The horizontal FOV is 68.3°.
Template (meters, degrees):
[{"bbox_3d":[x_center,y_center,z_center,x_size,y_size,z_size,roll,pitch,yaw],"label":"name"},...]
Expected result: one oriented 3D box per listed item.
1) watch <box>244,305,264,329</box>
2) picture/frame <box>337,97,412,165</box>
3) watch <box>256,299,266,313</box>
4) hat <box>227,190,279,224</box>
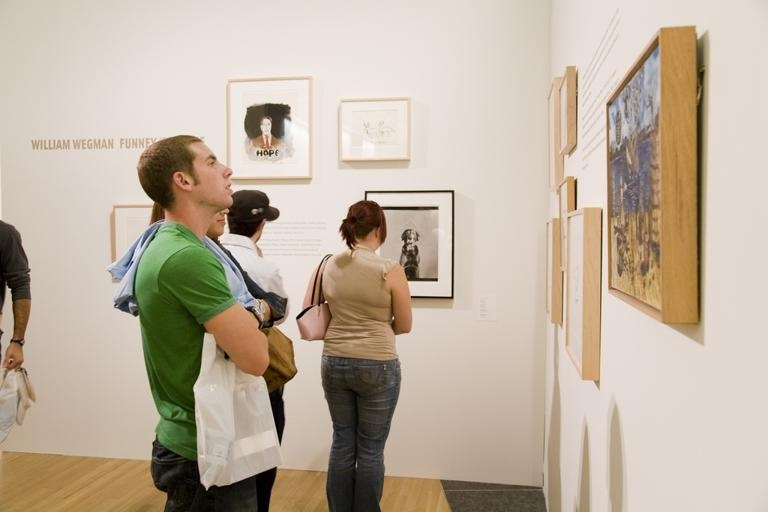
[{"bbox_3d":[-0.502,0.231,2.194,0.060,0.080,0.046,7,13,41],"label":"watch"},{"bbox_3d":[-0.041,-0.892,4.011,0.457,0.404,0.038,1,5,12],"label":"picture/frame"},{"bbox_3d":[-0.488,0.209,2.260,0.048,0.065,0.025,6,12,39],"label":"watch"},{"bbox_3d":[-0.696,-0.285,2.998,0.291,0.164,0.209,-13,29,-37],"label":"hat"}]
